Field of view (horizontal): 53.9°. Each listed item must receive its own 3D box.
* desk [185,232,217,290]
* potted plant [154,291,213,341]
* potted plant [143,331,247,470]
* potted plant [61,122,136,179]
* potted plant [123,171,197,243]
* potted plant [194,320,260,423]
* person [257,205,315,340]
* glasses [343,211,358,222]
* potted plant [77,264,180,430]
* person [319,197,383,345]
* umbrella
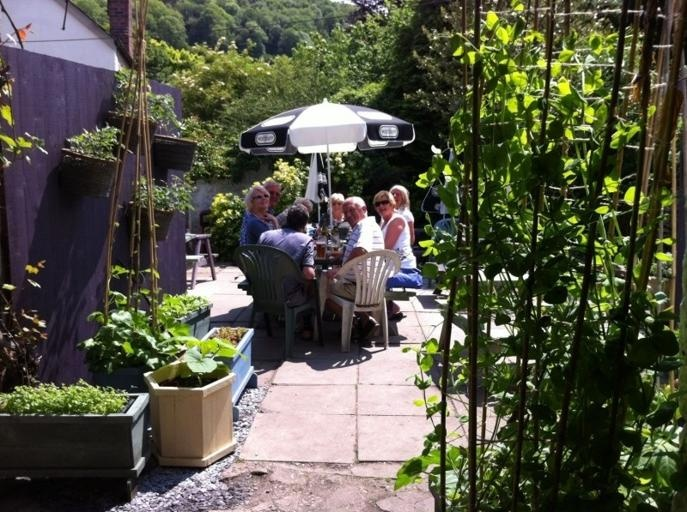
[{"bbox_3d":[-2.076,0.027,9.519,0.445,0.639,0.702,11,12,33],"label":"desk"},{"bbox_3d":[-1.091,0.379,4.704,0.560,0.223,0.313,11,13,-12],"label":"potted plant"},{"bbox_3d":[-0.818,0.752,3.581,0.466,0.630,0.539,8,5,18],"label":"potted plant"},{"bbox_3d":[-1.498,-0.667,4.181,0.355,0.229,0.370,3,3,31],"label":"potted plant"},{"bbox_3d":[-1.269,-0.352,5.118,0.420,0.631,0.559,12,5,38],"label":"potted plant"},{"bbox_3d":[-0.720,0.815,4.510,0.241,0.600,0.364,3,46,-12],"label":"potted plant"},{"bbox_3d":[-0.457,0.160,5.654,0.447,1.147,0.575,-1,9,-4],"label":"person"},{"bbox_3d":[0.065,-0.350,6.011,0.073,0.075,0.098,-2,-23,7],"label":"glasses"},{"bbox_3d":[-1.210,0.517,3.927,0.631,0.509,0.637,9,16,-1],"label":"potted plant"},{"bbox_3d":[0.057,0.109,5.847,0.579,1.227,0.571,1,-6,-3],"label":"person"},{"bbox_3d":[-0.263,-1.094,7.620,1.560,1.107,1.544,-4,6,-18],"label":"umbrella"}]
